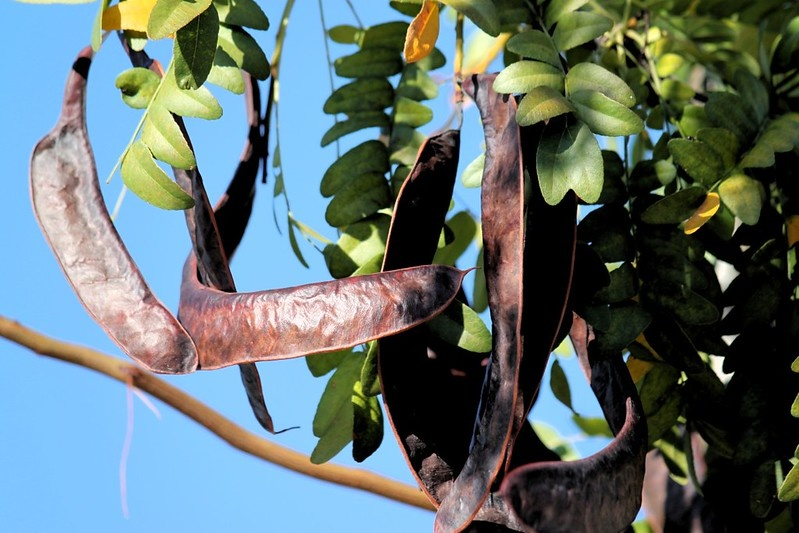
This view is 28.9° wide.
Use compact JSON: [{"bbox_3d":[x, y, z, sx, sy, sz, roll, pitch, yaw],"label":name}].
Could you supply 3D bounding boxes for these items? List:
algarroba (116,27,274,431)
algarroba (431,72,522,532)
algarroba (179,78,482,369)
[{"bbox_3d":[-0.185,-0.050,1.382,0.058,0.043,0.400,-8,-74,8],"label":"algarroba"},{"bbox_3d":[0.074,0.035,1.385,0.068,0.436,0.035,0,-7,6],"label":"algarroba"},{"bbox_3d":[-0.086,-0.018,1.368,0.230,0.171,0.063,-12,-54,11],"label":"algarroba"}]
